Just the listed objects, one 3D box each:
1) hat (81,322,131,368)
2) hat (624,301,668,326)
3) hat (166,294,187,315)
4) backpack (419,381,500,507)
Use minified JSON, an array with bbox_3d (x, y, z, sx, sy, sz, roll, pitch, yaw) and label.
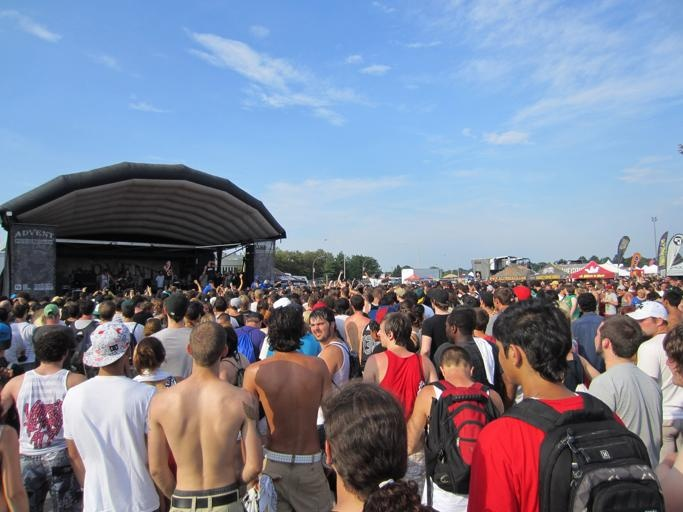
[{"bbox_3d":[-1.822,0.695,3.774,0.266,0.170,0.408,11,33,-8],"label":"hat"},{"bbox_3d":[3.426,0.613,5.408,0.467,0.267,0.341,-1,-6,21],"label":"hat"},{"bbox_3d":[-1.866,0.565,5.386,0.179,0.148,0.252,3,34,-12],"label":"hat"},{"bbox_3d":[0.893,1.353,3.513,0.474,0.741,0.298,3,-3,-21],"label":"backpack"}]
